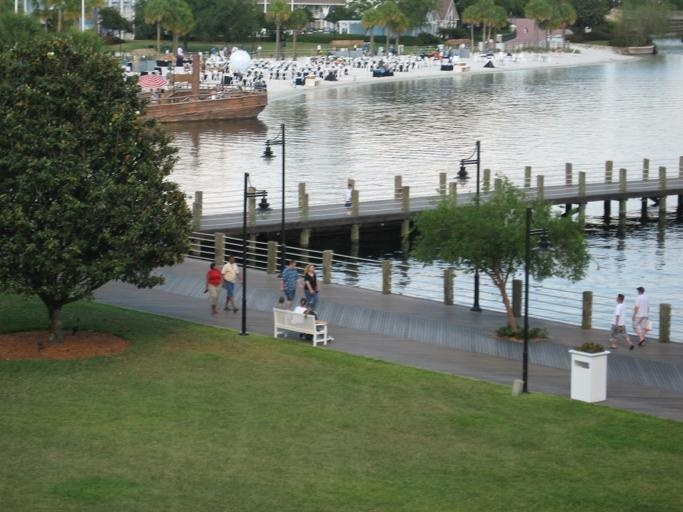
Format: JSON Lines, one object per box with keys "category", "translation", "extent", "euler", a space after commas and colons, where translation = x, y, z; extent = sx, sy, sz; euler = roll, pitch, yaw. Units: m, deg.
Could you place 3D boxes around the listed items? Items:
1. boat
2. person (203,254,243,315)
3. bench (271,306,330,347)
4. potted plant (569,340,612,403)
{"category": "boat", "translation": [-10.950, -12.864, 115.847], "extent": [9.118, 5.225, 20.421], "euler": [0, 4, -4]}
{"category": "person", "translation": [-4.386, 1.097, 54.045], "extent": [1.178, 2.173, 0.795], "euler": [0, 0, 35]}
{"category": "bench", "translation": [-1.462, 2.491, 51.001], "extent": [2.168, 1.165, 1.045], "euler": [3, 5, 31]}
{"category": "potted plant", "translation": [7.791, 3.843, 46.149], "extent": [1.130, 1.583, 0.579], "euler": [1, 4, 12]}
